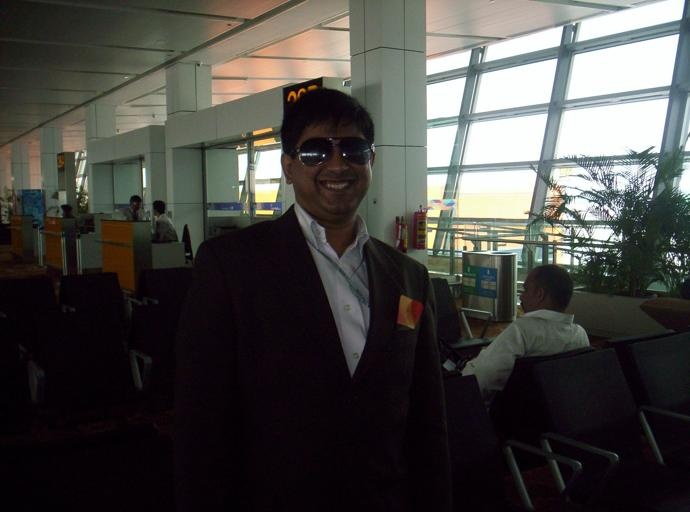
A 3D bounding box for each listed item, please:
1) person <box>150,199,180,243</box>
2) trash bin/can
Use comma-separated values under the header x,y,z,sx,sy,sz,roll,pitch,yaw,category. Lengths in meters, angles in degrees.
x,y,z,sx,sy,sz,roll,pitch,yaw,category
-3.438,-0.632,9.831,0.557,0.821,0.685,-8,13,-18,person
2.087,0.437,7.596,0.958,1.024,0.496,2,1,37,trash bin/can
